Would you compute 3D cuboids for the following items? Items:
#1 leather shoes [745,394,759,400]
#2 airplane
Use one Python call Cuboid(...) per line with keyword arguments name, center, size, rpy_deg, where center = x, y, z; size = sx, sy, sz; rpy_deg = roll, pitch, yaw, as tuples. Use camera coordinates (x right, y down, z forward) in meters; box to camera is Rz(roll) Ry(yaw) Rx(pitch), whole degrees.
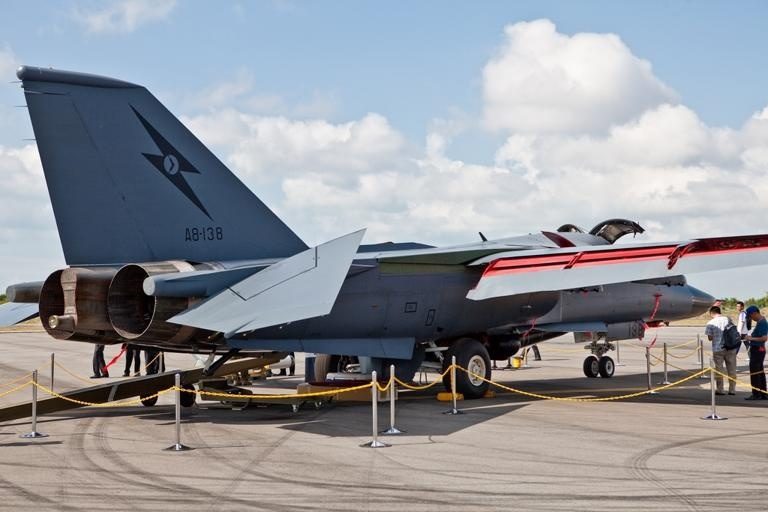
Cuboid(name="leather shoes", center=(8.234, 3.163, 18.431), size=(0.402, 0.103, 0.106), rpy_deg=(1, -9, 1))
Cuboid(name="airplane", center=(0.000, -0.020, 17.655), size=(11.609, 2.790, 11.023), rpy_deg=(0, -1, -41))
